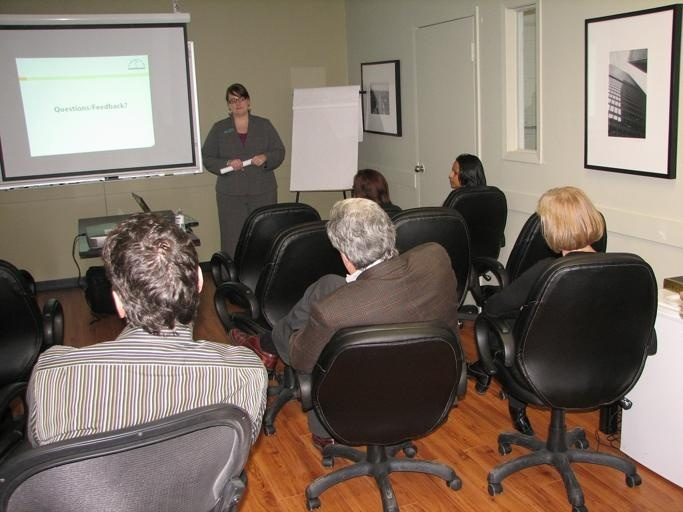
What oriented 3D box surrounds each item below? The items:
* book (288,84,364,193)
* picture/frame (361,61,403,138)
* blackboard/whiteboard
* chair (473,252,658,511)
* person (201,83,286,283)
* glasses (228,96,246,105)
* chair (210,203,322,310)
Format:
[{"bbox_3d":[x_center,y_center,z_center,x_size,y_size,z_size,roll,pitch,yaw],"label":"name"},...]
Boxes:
[{"bbox_3d":[-0.194,-1.296,5.625,0.780,1.096,0.411,0,17,12],"label":"book"},{"bbox_3d":[0.471,-1.826,5.826,0.083,0.985,0.864,-6,7,-23],"label":"picture/frame"},{"bbox_3d":[-2.201,-1.380,4.986,1.558,1.435,1.486,-8,17,-12],"label":"blackboard/whiteboard"},{"bbox_3d":[0.998,0.531,2.279,0.775,1.190,0.425,1,17,16],"label":"chair"},{"bbox_3d":[-0.939,-0.639,5.006,0.708,1.937,0.623,-7,36,-15],"label":"person"},{"bbox_3d":[-0.955,-1.410,4.572,0.153,0.069,0.083,-7,17,-7],"label":"glasses"},{"bbox_3d":[-0.535,-0.083,3.387,0.570,0.906,0.685,-2,27,-30],"label":"chair"}]
